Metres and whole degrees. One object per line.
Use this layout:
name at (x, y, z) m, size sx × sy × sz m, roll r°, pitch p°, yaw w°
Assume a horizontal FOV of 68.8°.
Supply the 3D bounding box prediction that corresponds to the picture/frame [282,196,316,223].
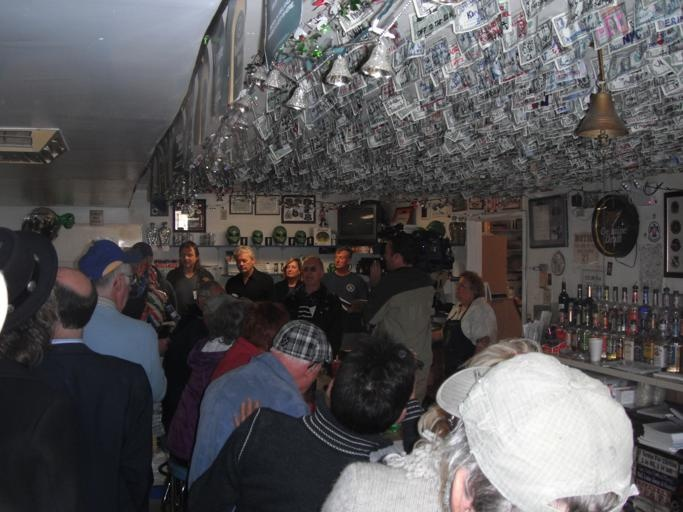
picture/frame at (-0.806, -0.874, 9.335) m, size 0.456 × 0.392 × 0.037 m, roll 4°, pitch -12°, yaw -30°

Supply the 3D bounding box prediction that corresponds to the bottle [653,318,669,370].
bottle at (2.757, 0.762, 4.322) m, size 0.099 × 0.375 × 0.313 m, roll 2°, pitch 3°, yaw 33°

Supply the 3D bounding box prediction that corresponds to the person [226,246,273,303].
person at (-1.145, 0.218, 6.188) m, size 0.564 × 0.783 × 0.401 m, roll -1°, pitch -7°, yaw 8°

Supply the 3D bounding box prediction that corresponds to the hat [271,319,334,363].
hat at (-0.155, 0.389, 2.163) m, size 0.160 × 0.121 × 0.220 m, roll 23°, pitch -1°, yaw 32°

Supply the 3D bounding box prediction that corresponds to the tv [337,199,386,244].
tv at (0.349, -0.583, 8.722) m, size 0.377 × 0.692 × 0.683 m, roll 24°, pitch -4°, yaw -43°

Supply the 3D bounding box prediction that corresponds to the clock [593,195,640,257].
clock at (2.905, -0.317, 5.257) m, size 0.098 × 0.642 × 0.606 m, roll -1°, pitch -3°, yaw -16°

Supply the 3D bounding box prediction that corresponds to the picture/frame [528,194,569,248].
picture/frame at (2.587, -0.445, 6.209) m, size 0.088 × 0.684 × 0.673 m, roll -2°, pitch 1°, yaw -19°
